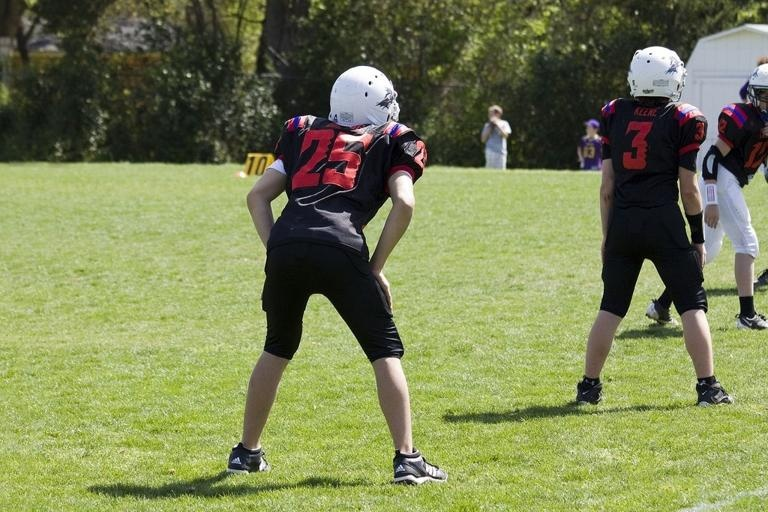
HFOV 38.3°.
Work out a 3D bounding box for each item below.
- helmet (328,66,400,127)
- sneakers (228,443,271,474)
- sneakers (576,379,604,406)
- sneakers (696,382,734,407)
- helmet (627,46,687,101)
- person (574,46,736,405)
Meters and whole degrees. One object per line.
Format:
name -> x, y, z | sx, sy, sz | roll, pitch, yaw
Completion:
helmet -> -0.144, -1.168, 7.969 | 0.463, 0.368, 0.381 | -8, 18, -17
sneakers -> -0.967, 1.458, 7.950 | 0.133, 0.151, 0.353 | 4, -3, 29
sneakers -> 1.620, 1.075, 8.735 | 0.124, 0.181, 0.259 | -11, -22, 31
sneakers -> 2.523, 1.062, 8.478 | 0.333, 0.154, 0.124 | 1, 0, -23
helmet -> 2.112, -1.395, 8.533 | 0.363, 0.343, 0.451 | 6, 18, 17
person -> 2.098, -0.208, 8.619 | 1.052, 2.807, 0.322 | 3, 4, 11
